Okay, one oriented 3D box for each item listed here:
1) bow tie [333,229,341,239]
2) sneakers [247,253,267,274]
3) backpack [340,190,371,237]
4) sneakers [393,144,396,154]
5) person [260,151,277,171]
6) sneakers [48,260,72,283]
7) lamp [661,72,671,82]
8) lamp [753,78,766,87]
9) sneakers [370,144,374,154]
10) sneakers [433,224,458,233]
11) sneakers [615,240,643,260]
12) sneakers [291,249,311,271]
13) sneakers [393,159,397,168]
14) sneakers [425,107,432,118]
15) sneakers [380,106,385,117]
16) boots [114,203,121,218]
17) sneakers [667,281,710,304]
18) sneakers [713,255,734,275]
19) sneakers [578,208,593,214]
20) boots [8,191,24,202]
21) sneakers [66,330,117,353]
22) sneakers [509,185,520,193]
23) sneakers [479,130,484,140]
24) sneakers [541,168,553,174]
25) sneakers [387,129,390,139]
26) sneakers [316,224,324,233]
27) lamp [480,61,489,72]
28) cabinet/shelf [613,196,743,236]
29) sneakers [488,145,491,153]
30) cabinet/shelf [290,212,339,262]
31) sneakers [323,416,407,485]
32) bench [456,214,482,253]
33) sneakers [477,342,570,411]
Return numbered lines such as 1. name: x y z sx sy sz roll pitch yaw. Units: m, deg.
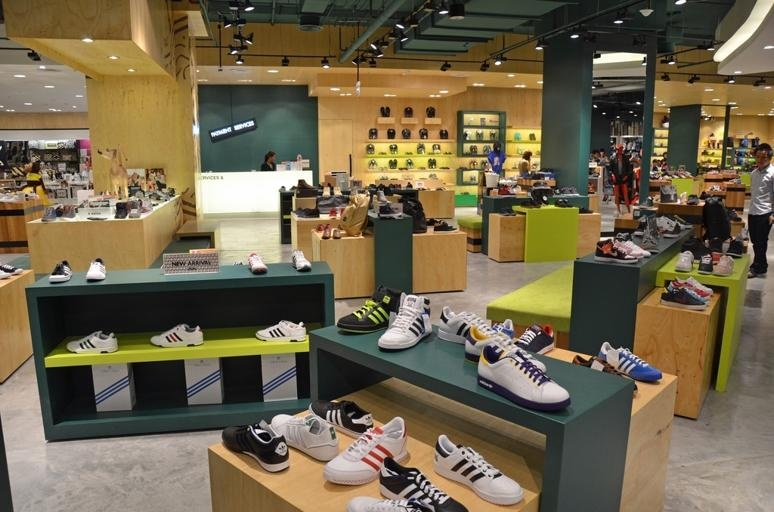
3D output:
1. bow tie: -0.664 -0.280 6.713 0.127 0.144 0.368 0 2 -5
2. sneakers: -1.053 0.062 4.149 0.097 0.092 0.241 -6 9 -26
3. backpack: -0.446 -0.533 6.825 0.444 0.518 0.292 2 11 17
4. sneakers: 0.229 -3.402 16.231 0.130 0.226 0.091 -4 -6 -7
5. person: -3.129 -2.497 13.557 0.398 0.520 1.068 -4 10 -13
6. sneakers: -2.569 0.126 4.050 0.119 0.113 0.319 -1 3 -16
7. lamp: 8.354 -5.376 15.405 0.267 0.249 0.189 0 1 -40
8. lamp: 11.440 -5.340 15.776 0.298 0.137 0.389 3 17 35
9. sneakers: -0.478 -3.366 16.121 0.104 0.256 0.111 0 12 -4
10. sneakers: 0.815 -0.384 7.134 0.342 0.130 0.120 0 4 -8
11. sneakers: 2.016 -0.052 4.285 0.112 0.128 0.328 -4 12 -31
12. sneakers: -0.713 0.040 4.239 0.101 0.097 0.252 -4 6 -21
13. sneakers: 0.250 -2.940 16.357 0.101 0.271 0.089 -5 -21 6
14. sneakers: 1.363 -4.565 16.305 0.242 0.339 0.141 0 11 4
15. sneakers: -0.124 -4.499 15.990 0.191 0.278 0.074 -1 11 3
16. boots: -3.502 -0.589 6.668 0.067 0.075 0.199 -1 18 -29
17. sneakers: 2.403 0.291 4.200 0.427 0.183 0.155 2 7 13
18. sneakers: 3.045 0.083 4.645 0.114 0.115 0.296 2 6 39
19. sneakers: 3.591 -0.823 9.347 0.132 0.066 0.189 -2 0 -37
20. boots: -6.742 -1.065 9.241 0.296 0.126 0.194 4 5 15
21. sneakers: -2.274 0.675 4.029 0.399 0.163 0.164 2 0 -6
22. sneakers: 2.528 -1.315 10.122 0.127 0.155 0.375 1 0 24
23. sneakers: 3.047 -3.930 16.646 0.086 0.335 0.189 -2 -10 2
24. sneakers: 3.698 -1.965 11.891 0.206 0.089 0.269 1 0 -11
25. sneakers: 0.075 -3.840 16.095 0.168 0.281 0.079 -1 11 2
26. sneakers: -0.926 -0.382 7.109 0.071 0.077 0.206 0 2 -4
27. lamp: 2.558 -5.009 13.531 0.161 0.194 0.442 0 10 5
28. cabinet/shelf: 4.470 -0.657 8.201 1.402 0.660 1.369 1 1 7
29. sneakers: 3.310 -3.492 16.719 0.134 0.221 0.083 2 12 0
30. cabinet/shelf: -1.124 -0.286 8.002 0.759 0.689 0.726 0 3 -7
31. sneakers: -0.088 1.000 2.710 0.549 0.214 0.217 -18 20 -40
32. bench: 1.464 -0.380 9.081 0.445 0.479 0.761 -1 7 -13
33. sneakers: 0.623 0.563 2.540 0.530 0.222 0.202 16 26 33
